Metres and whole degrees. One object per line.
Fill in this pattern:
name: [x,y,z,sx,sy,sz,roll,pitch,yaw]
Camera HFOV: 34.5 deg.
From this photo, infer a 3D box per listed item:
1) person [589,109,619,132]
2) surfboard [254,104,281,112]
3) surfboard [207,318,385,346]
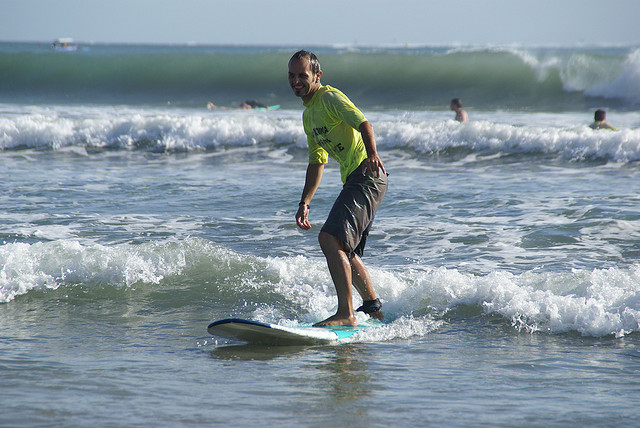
person: [7.042,-2.281,25.772,0.439,0.455,0.871,-3,24,2]
surfboard: [-1.801,-3.675,36.546,0.218,0.259,1.940,-35,-3,13]
surfboard: [-0.359,1.879,16.311,2.681,0.234,0.680,2,0,-7]
